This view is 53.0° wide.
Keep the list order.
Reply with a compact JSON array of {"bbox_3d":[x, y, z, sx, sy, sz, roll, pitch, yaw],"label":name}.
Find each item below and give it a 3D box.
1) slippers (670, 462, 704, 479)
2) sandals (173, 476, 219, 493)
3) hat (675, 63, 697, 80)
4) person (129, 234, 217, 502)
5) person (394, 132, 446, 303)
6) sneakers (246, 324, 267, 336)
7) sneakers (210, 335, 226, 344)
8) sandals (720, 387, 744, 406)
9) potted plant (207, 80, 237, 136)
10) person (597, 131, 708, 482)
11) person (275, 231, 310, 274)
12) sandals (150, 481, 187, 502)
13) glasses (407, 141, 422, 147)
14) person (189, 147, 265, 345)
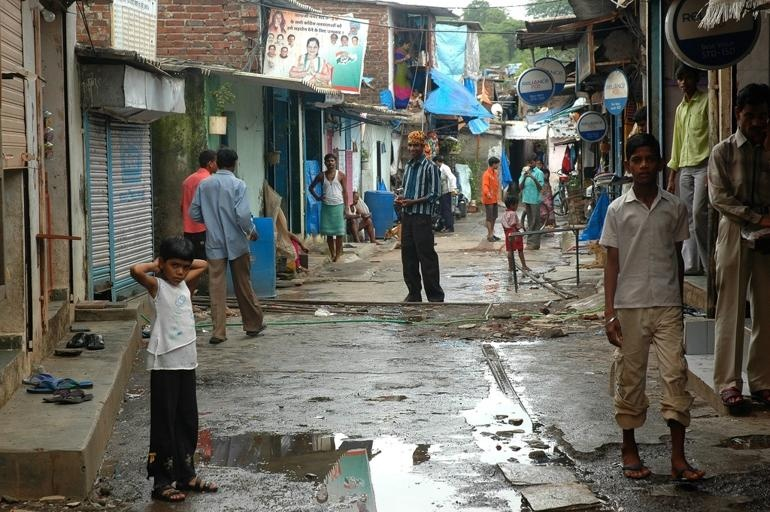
[{"bbox_3d":[2.078,1.488,5.320,0.191,0.077,0.108,-12,-3,38],"label":"slippers"},{"bbox_3d":[-1.326,1.627,5.497,0.317,0.107,0.111,0,0,1],"label":"sandals"},{"bbox_3d":[3.396,-2.043,8.691,0.191,0.146,0.226,2,-6,5],"label":"hat"},{"bbox_3d":[-1.519,0.770,5.489,0.439,1.751,0.761,-5,13,-14],"label":"person"},{"bbox_3d":[0.518,-0.546,11.335,0.685,2.518,0.710,-1,13,0],"label":"person"},{"bbox_3d":[-1.559,0.930,9.533,0.257,0.105,0.085,-28,22,-32],"label":"sneakers"},{"bbox_3d":[-1.955,0.997,9.113,0.211,0.078,0.068,-2,5,-34],"label":"sneakers"},{"bbox_3d":[2.817,1.155,6.258,0.116,0.065,0.180,-5,-4,0],"label":"sandals"},{"bbox_3d":[-2.746,-2.446,12.941,0.473,0.766,0.464,4,17,-16],"label":"potted plant"},{"bbox_3d":[1.893,0.343,5.493,0.655,2.372,0.886,-2,13,-1],"label":"person"},{"bbox_3d":[-1.662,-0.079,13.603,0.428,0.868,1.072,0,12,5],"label":"person"},{"bbox_3d":[-1.488,1.642,5.362,0.208,0.101,0.188,-9,14,-33],"label":"sandals"},{"bbox_3d":[0.443,-1.619,11.113,0.184,0.061,0.119,0,12,2],"label":"glasses"},{"bbox_3d":[-1.822,-0.130,9.444,1.047,2.336,0.880,-3,7,-35],"label":"person"}]
